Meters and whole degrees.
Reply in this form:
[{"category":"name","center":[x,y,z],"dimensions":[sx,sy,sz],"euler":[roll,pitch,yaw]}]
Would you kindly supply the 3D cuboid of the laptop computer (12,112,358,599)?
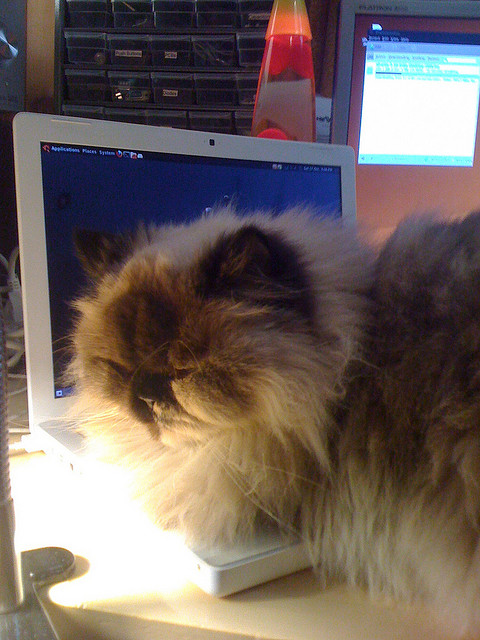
[{"category":"laptop computer","center":[-0.055,0.021,0.420],"dimensions":[0.265,0.255,0.229],"euler":[10,8,-40]}]
